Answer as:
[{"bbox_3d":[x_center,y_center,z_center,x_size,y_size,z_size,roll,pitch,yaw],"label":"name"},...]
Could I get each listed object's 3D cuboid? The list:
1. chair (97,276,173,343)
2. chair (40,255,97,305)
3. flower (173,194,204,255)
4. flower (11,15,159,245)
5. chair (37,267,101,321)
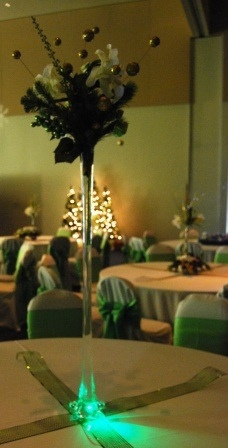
[{"bbox_3d":[0.145,0.579,2.366,0.368,0.613,0.396,-8,12,-41],"label":"chair"},{"bbox_3d":[-0.435,0.510,3.748,0.515,0.683,0.487,2,2,3],"label":"chair"},{"bbox_3d":[0.710,-0.004,3.478,0.189,0.383,0.164,-13,14,-28],"label":"flower"},{"bbox_3d":[-0.051,-0.275,0.901,0.275,0.388,0.319,-12,35,-33],"label":"flower"},{"bbox_3d":[-0.366,0.520,2.905,0.494,0.656,0.451,-1,0,1],"label":"chair"}]
